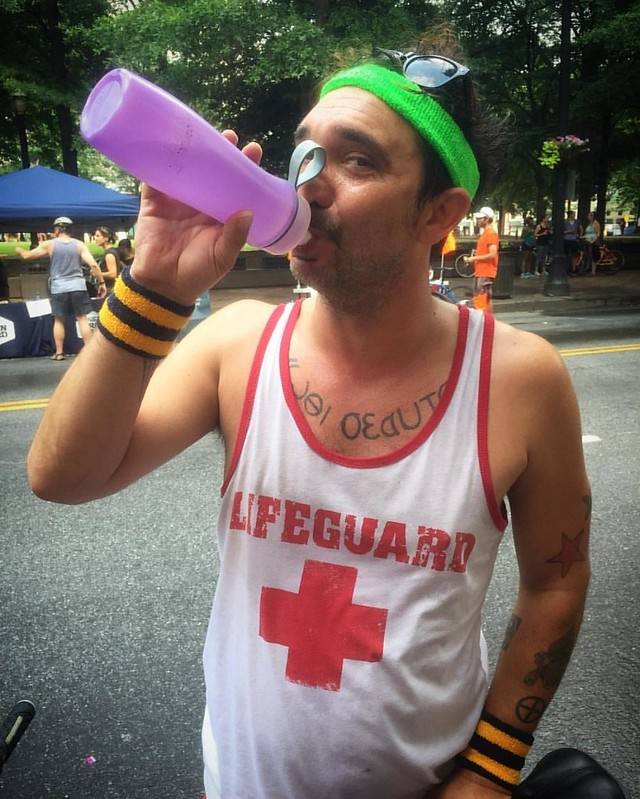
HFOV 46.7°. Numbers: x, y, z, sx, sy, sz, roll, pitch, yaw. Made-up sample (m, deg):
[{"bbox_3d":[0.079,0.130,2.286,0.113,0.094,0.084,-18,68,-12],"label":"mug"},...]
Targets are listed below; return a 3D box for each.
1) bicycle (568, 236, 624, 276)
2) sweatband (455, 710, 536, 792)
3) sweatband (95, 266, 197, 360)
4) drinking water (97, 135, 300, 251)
[{"bbox_3d":[8.133,-4.279,22.622,1.866,1.039,0.952,-5,12,-24],"label":"bicycle"},{"bbox_3d":[0.293,0.576,1.258,0.106,0.086,0.121,29,-5,14],"label":"sweatband"},{"bbox_3d":[-0.270,-0.123,1.192,0.153,0.105,0.146,11,21,-49],"label":"sweatband"},{"bbox_3d":[-0.142,-0.356,1.167,0.387,0.125,0.151,24,30,13],"label":"drinking water"}]
